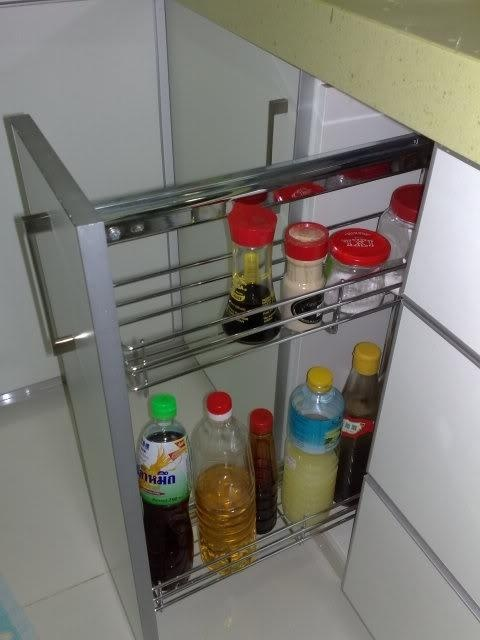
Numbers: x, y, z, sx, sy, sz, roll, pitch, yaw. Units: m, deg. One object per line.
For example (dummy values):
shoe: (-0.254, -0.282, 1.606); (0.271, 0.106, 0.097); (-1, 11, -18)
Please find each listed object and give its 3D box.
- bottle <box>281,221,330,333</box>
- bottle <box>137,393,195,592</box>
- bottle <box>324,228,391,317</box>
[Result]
bottle: (0.075, -0.046, 0.570); (0.048, 0.125, 0.051); (-2, 40, 1)
bottle: (-0.094, 0.225, 0.635); (0.074, 0.289, 0.077); (1, 25, -1)
bottle: (0.130, -0.056, 0.605); (0.077, 0.107, 0.109); (-6, 33, -6)
